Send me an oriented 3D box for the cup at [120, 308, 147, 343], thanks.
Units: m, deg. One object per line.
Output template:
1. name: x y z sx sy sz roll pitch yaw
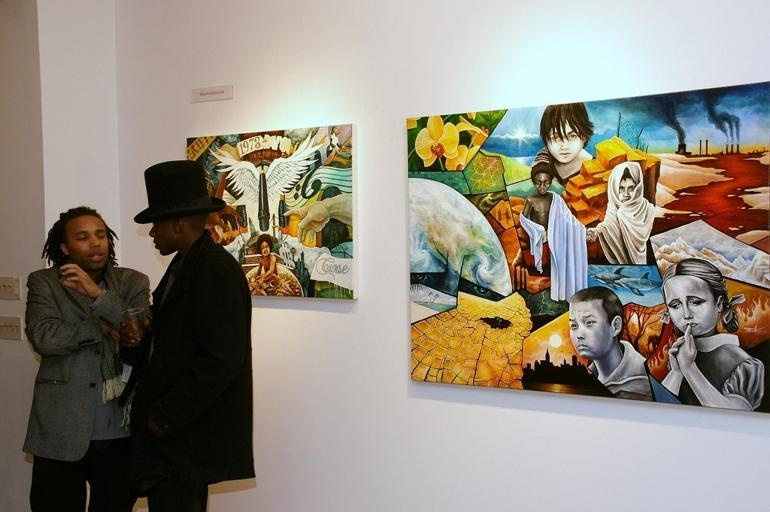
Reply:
1. cup: -1.437 0.407 3.436 0.111 0.181 0.123 29 31 20

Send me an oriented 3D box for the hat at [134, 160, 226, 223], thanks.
1. hat: -1.159 -0.358 3.475 0.378 0.222 0.403 -10 9 6
